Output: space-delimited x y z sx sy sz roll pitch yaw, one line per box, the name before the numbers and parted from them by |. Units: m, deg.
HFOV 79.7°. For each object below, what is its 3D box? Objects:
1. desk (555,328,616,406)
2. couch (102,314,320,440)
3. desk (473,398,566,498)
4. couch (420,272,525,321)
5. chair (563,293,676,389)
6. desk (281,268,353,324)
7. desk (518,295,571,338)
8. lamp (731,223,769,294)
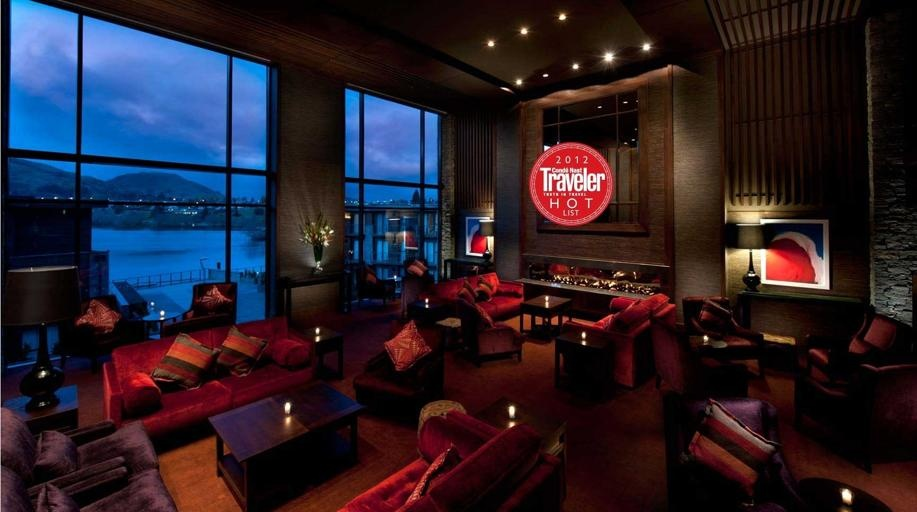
desk | 2.288 2.009 9.821 0.759 1.148 1.352 -5 6 -39
couch | -4.202 1.976 9.501 3.207 1.125 1.309 -9 24 -41
desk | 1.122 2.890 8.727 1.474 1.228 1.450 1 3 35
couch | 0.403 1.020 12.616 1.062 0.930 2.449 9 12 41
chair | 3.179 1.509 10.964 1.561 1.314 2.392 8 16 42
desk | -3.456 0.960 13.077 1.422 0.751 0.407 -5 8 -45
desk | 1.804 1.164 11.911 0.884 0.729 1.281 1 4 32
lamp | 5.871 0.021 11.149 0.647 1.385 0.582 -4 3 18
